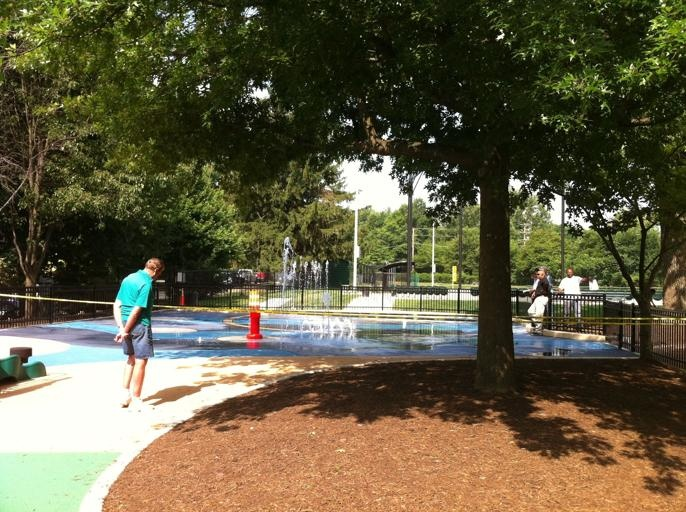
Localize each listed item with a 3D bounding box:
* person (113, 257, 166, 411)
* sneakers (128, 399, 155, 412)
[{"bbox_3d":[-3.183,1.203,9.497,0.681,2.304,0.770,-2,3,-21],"label":"person"},{"bbox_3d":[-3.131,2.319,9.335,0.522,0.207,0.170,8,-9,-19],"label":"sneakers"}]
